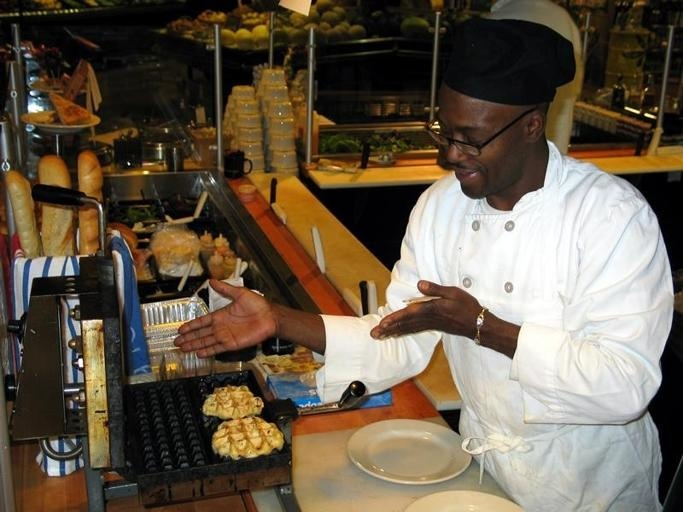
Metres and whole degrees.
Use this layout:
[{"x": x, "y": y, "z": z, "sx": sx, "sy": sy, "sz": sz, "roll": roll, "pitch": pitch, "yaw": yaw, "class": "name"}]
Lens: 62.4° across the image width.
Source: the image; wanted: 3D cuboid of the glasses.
[{"x": 0.343, "y": -0.327, "z": 1.464, "sx": 0.292, "sy": 0.112, "sz": 0.188, "roll": 7, "pitch": 21, "yaw": 26, "class": "glasses"}]

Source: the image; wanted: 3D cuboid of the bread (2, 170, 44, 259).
[{"x": -1.112, "y": -0.142, "z": 1.971, "sx": 0.084, "sy": 0.307, "sz": 0.095, "roll": -16, "pitch": 24, "yaw": -34, "class": "bread"}]

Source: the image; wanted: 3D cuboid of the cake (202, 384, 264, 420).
[{"x": -0.307, "y": 0.422, "z": 1.617, "sx": 0.101, "sy": 0.030, "sz": 0.099, "roll": -2, "pitch": 18, "yaw": -22, "class": "cake"}]

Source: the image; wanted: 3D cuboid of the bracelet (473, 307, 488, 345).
[{"x": 0.348, "y": 0.174, "z": 1.412, "sx": 0.033, "sy": 0.071, "sz": 0.057, "roll": 6, "pitch": -4, "yaw": 11, "class": "bracelet"}]

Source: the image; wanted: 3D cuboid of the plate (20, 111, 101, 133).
[{"x": -1.773, "y": -0.849, "z": 3.580, "sx": 0.433, "sy": 0.133, "sz": 0.538, "roll": -11, "pitch": 20, "yaw": -25, "class": "plate"}]

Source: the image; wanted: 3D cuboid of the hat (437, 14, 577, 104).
[{"x": 0.517, "y": -0.539, "z": 1.562, "sx": 0.268, "sy": 0.162, "sz": 0.379, "roll": 2, "pitch": 0, "yaw": 38, "class": "hat"}]

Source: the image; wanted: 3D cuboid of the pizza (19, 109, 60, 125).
[{"x": -1.887, "y": -0.867, "z": 3.521, "sx": 0.244, "sy": 0.051, "sz": 0.239, "roll": 3, "pitch": 27, "yaw": -6, "class": "pizza"}]
